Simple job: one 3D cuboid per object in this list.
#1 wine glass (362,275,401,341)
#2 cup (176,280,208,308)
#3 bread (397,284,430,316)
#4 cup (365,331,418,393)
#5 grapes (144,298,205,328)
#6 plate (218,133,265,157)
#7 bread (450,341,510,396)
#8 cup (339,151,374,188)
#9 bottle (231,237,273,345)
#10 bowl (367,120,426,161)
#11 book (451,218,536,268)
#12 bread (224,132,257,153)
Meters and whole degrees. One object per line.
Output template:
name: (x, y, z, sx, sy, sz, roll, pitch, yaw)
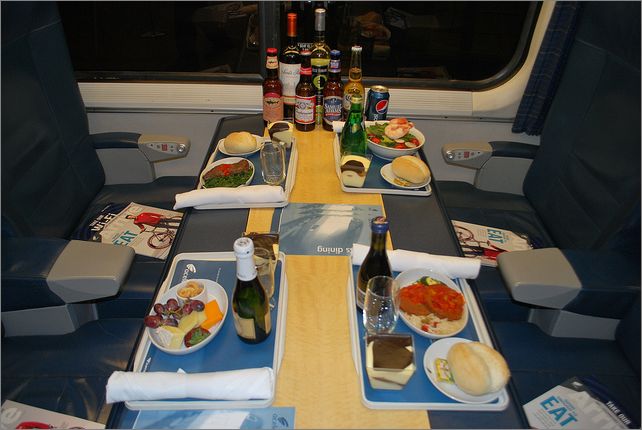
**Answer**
wine glass: (0.197, 0.295, 1.324, 0.111, 0.181, 0.123, 6, 41, 7)
cup: (-0.437, 0.266, 1.410, 0.087, 0.052, 0.086, 2, 35, -1)
bread: (0.317, 0.291, 1.398, 0.106, 0.028, 0.105, -20, 41, -22)
cup: (0.201, 0.421, 1.210, 0.136, 0.121, 0.166, 1, 38, 1)
grapes: (-0.481, 0.318, 1.347, 0.147, 0.069, 0.088, -12, 18, -8)
plate: (-0.409, -0.359, 2.022, 0.158, 0.060, 0.158, 16, 35, 25)
bread: (0.467, 0.448, 1.218, 0.149, 0.062, 0.153, -8, 48, -7)
cup: (0.149, -0.197, 1.786, 0.124, 0.115, 0.146, 3, 18, 7)
bottle: (-0.232, 0.214, 1.271, 0.119, 0.376, 0.189, -10, 42, -12)
bowl: (0.369, -0.354, 2.022, 0.237, 0.083, 0.205, 8, 44, 9)
book: (0.813, 0.136, 1.943, 0.362, 0.035, 0.197, 3, 35, 7)
bread: (-0.394, -0.356, 1.993, 0.114, 0.065, 0.114, 16, 33, 21)
